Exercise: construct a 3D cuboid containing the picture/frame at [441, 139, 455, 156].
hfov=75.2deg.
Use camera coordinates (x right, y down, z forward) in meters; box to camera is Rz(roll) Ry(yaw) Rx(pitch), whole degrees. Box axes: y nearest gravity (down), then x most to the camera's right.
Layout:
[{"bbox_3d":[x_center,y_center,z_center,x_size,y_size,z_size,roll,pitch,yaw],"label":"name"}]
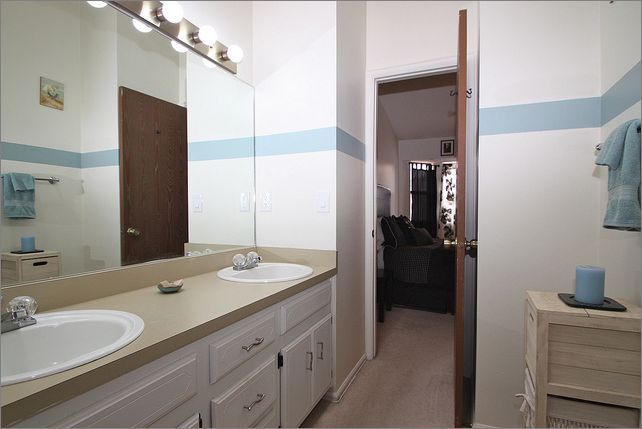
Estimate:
[{"bbox_3d":[2.169,-1.173,7.139,0.259,0.305,0.025,1,4,27],"label":"picture/frame"}]
